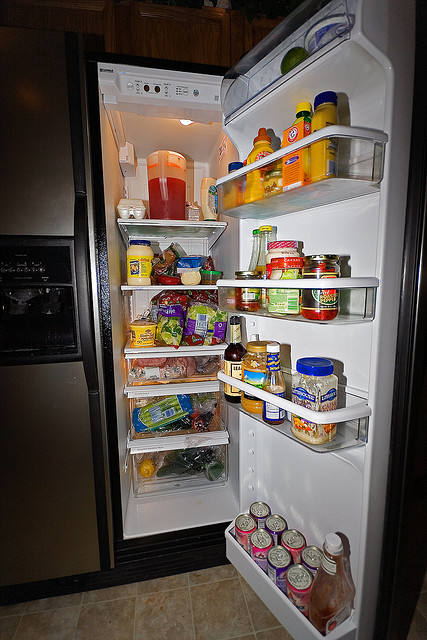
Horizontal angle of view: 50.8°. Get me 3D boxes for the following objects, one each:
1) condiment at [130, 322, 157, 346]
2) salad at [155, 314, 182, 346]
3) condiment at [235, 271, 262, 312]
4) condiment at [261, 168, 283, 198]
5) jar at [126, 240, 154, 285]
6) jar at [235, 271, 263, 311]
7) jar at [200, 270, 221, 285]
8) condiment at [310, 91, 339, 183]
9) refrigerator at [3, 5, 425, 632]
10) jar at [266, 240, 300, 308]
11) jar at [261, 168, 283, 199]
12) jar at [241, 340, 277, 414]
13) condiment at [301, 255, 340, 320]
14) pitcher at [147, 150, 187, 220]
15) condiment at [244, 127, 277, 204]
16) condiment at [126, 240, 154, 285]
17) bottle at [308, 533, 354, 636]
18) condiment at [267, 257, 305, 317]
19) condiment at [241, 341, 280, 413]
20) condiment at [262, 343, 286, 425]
[{"bbox_3d":[-0.276,0.050,1.712,0.081,0.079,0.086,1,8,0],"label":"condiment"},{"bbox_3d":[-0.173,0.038,1.769,0.102,0.121,0.043,-2,-10,22],"label":"salad"},{"bbox_3d":[0.096,-0.083,1.244,0.092,0.152,0.098,-1,8,-8],"label":"condiment"},{"bbox_3d":[0.146,-0.342,1.116,0.059,0.056,0.062,2,4,29],"label":"condiment"},{"bbox_3d":[-0.272,-0.213,1.688,0.130,0.179,0.132,2,4,0],"label":"jar"},{"bbox_3d":[0.093,-0.086,1.255,0.096,0.157,0.096,0,9,0],"label":"jar"},{"bbox_3d":[-0.014,-0.167,1.753,0.059,0.041,0.059,0,8,0],"label":"jar"},{"bbox_3d":[0.253,-0.420,1.025,0.061,0.216,0.189,0,10,16],"label":"condiment"},{"bbox_3d":[-0.004,0.018,1.446,1.189,1.700,0.881,2,10,24],"label":"refrigerator"},{"bbox_3d":[0.185,-0.136,1.166,0.069,0.137,0.072,-4,4,0],"label":"jar"},{"bbox_3d":[0.147,-0.342,1.115,0.061,0.058,0.063,-1,5,0],"label":"jar"},{"bbox_3d":[0.112,0.142,1.250,0.084,0.205,0.089,3,11,-1],"label":"jar"},{"bbox_3d":[0.247,-0.075,1.046,0.081,0.148,0.085,-1,6,-8],"label":"condiment"},{"bbox_3d":[-0.179,-0.504,1.689,0.123,0.284,0.130,3,14,-9],"label":"pitcher"},{"bbox_3d":[0.135,-0.423,1.195,0.070,0.186,0.057,-9,-8,28],"label":"condiment"},{"bbox_3d":[-0.277,-0.210,1.691,0.097,0.179,0.102,0,0,26],"label":"condiment"},{"bbox_3d":[0.295,0.638,1.112,0.121,0.221,0.079,-8,11,-31],"label":"bottle"},{"bbox_3d":[0.182,-0.086,1.144,0.087,0.154,0.092,-10,13,-37],"label":"condiment"},{"bbox_3d":[0.115,0.139,1.262,0.092,0.210,0.095,-2,12,-25],"label":"condiment"},{"bbox_3d":[0.154,0.170,1.197,0.059,0.210,0.063,-2,15,-23],"label":"condiment"}]
